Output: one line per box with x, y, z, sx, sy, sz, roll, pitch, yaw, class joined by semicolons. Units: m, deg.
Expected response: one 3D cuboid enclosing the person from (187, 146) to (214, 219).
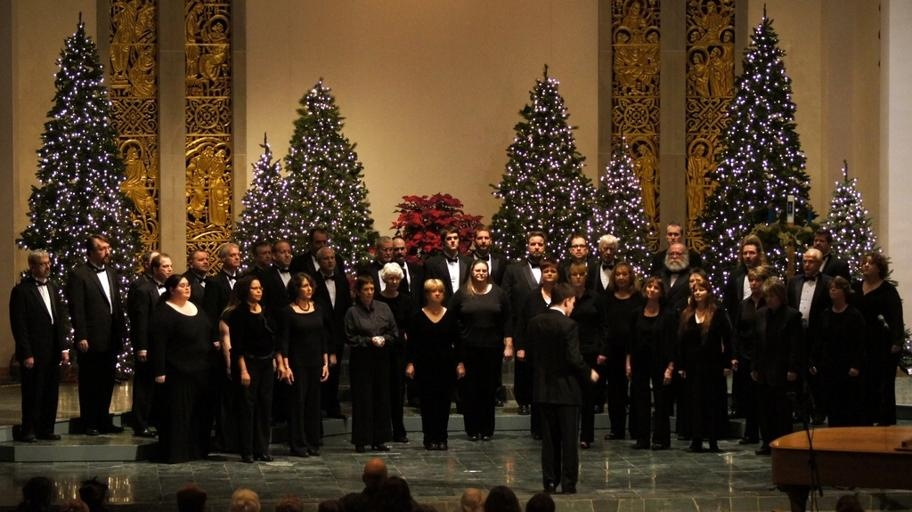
-5.225;-1.492;23.915;0.600;1.389;0.320;-3;-12;-1;person

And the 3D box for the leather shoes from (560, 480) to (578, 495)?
1.506;3.111;15.836;0.113;0.115;0.253;1;2;11;leather shoes

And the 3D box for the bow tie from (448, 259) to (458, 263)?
-0.053;0.072;18.900;0.092;0.061;0.085;5;-14;-42;bow tie
